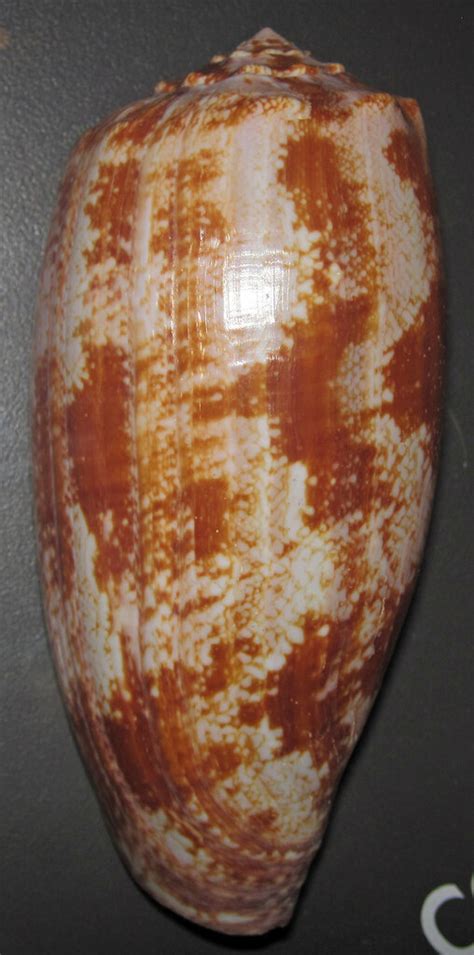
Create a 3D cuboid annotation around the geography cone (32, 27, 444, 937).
[{"bbox_3d":[-0.019,-0.005,0.792,0.351,0.203,0.905,-1,94,-24],"label":"geography cone"}]
